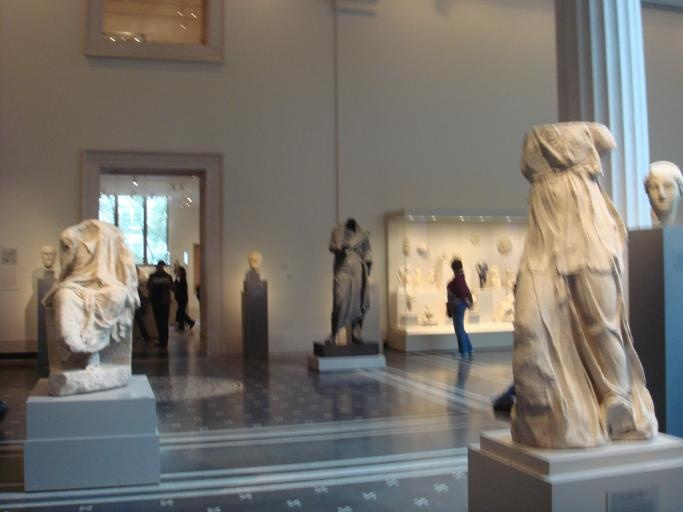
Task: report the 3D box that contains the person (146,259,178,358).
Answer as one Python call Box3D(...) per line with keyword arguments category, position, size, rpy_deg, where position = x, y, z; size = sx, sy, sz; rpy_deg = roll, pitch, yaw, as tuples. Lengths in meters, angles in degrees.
Box3D(category="person", position=(-3.407, 0.948, 13.953), size=(0.475, 1.637, 0.873), rpy_deg=(-1, 3, -23))

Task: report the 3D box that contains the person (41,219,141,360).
Box3D(category="person", position=(-2.425, 0.280, 7.196), size=(0.802, 1.219, 0.627), rpy_deg=(-2, 4, -37))

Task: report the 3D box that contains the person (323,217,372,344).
Box3D(category="person", position=(0.126, 0.406, 11.772), size=(0.738, 2.009, 0.491), rpy_deg=(0, 3, -14))

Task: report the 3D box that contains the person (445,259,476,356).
Box3D(category="person", position=(2.093, 0.908, 12.931), size=(0.461, 1.710, 0.939), rpy_deg=(1, 3, 10))
